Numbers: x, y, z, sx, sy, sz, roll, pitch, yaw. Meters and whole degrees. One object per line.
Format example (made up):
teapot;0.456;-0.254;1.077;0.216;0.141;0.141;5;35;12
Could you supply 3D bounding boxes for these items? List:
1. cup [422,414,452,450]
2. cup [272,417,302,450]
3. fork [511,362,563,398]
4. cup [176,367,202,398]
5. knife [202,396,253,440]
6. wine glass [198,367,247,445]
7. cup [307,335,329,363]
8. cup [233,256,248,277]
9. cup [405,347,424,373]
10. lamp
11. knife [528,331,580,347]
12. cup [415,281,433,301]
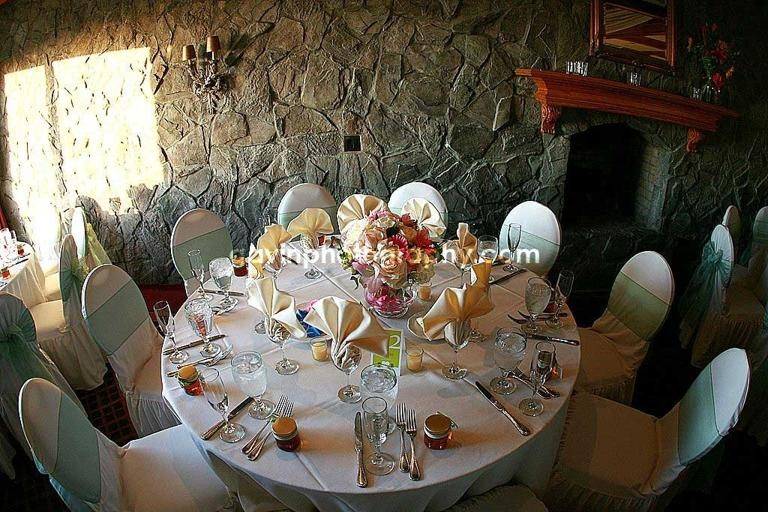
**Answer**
cup;0.262;0.881;2.550;0.145;0.130;0.148;-3;20;1
cup;-0.478;0.885;2.550;0.148;0.148;0.132;-13;32;-18
fork;0.799;0.681;2.742;0.091;0.056;0.373;-41;31;-17
cup;-1.052;0.692;2.713;0.102;0.174;0.109;-2;32;1
knife;-0.807;0.847;2.582;0.048;0.031;0.342;34;53;22
wine glass;-0.873;0.740;2.640;0.200;0.362;0.403;-4;11;-28
cup;-0.367;0.535;2.879;0.110;0.130;0.113;-1;12;0
cup;-0.985;0.073;3.497;0.096;0.128;0.132;-5;1;-22
cup;0.168;0.584;2.843;0.103;0.121;0.104;2;13;0
lamp;-1.591;-1.726;4.755;0.618;0.621;0.462;4;16;4
knife;0.985;0.487;2.919;0.387;0.059;0.022;7;-7;23
cup;0.264;0.223;3.272;0.101;0.114;0.115;30;45;33
